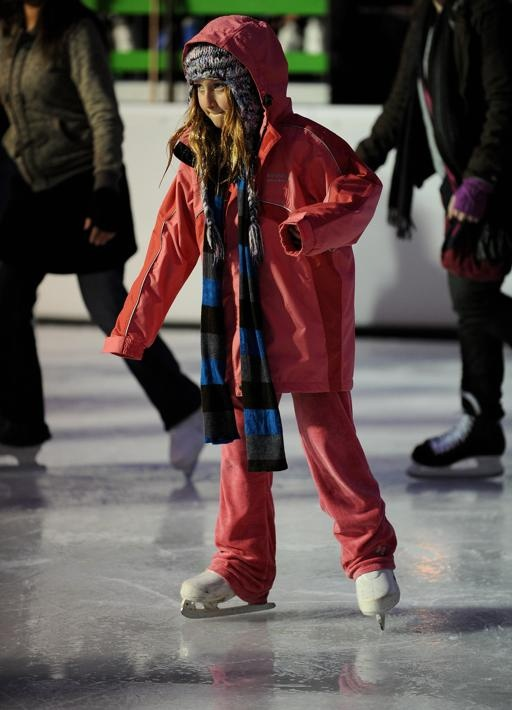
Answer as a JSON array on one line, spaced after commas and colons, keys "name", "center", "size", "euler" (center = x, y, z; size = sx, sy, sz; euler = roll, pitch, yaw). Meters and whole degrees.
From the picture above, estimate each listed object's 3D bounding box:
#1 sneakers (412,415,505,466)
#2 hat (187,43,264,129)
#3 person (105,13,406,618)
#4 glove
[{"name": "sneakers", "center": [0.598, 0.241, 2.741], "size": [0.327, 0.157, 0.105], "euler": [-4, 22, 11]}, {"name": "hat", "center": [-0.069, -0.456, 1.570], "size": [0.142, 0.144, 0.065], "euler": [14, 34, 34]}, {"name": "person", "center": [-0.026, -0.003, 1.626], "size": [0.515, 1.083, 0.523], "euler": [-3, 27, 8]}, {"name": "glove", "center": [0.511, -0.337, 2.275], "size": [0.046, 0.157, 0.121], "euler": [16, -19, -17]}]
